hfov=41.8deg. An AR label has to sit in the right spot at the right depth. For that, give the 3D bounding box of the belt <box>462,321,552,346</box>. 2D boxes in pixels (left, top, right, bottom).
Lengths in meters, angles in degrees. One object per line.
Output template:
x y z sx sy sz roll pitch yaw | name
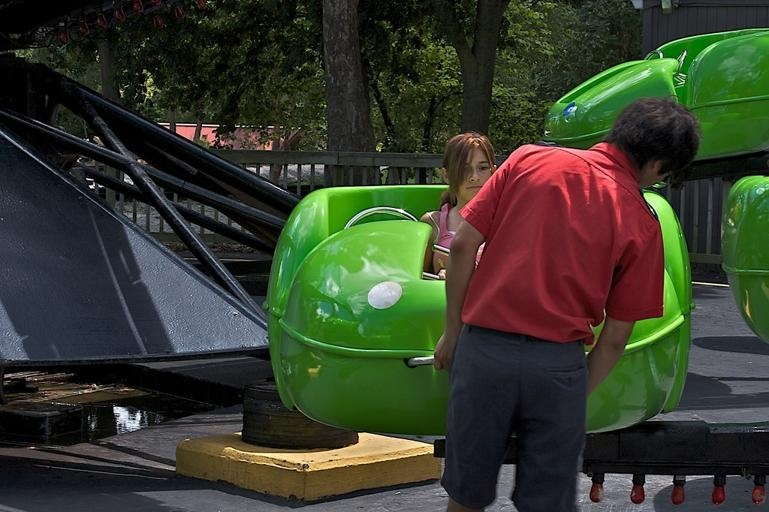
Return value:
0.556 0.354 4.591 0.395 0.064 0.043 2 9 14 | belt
